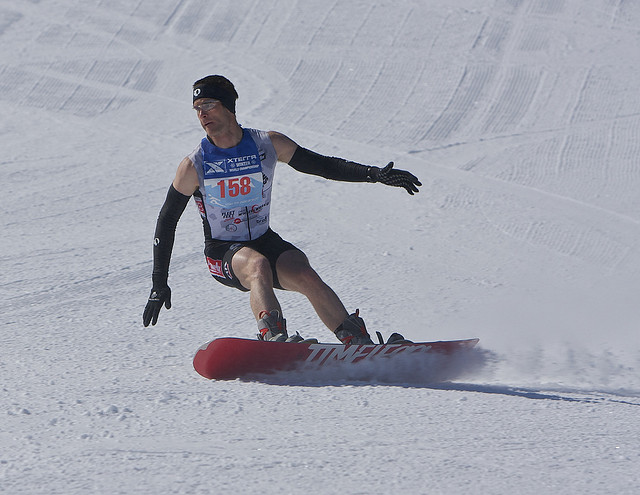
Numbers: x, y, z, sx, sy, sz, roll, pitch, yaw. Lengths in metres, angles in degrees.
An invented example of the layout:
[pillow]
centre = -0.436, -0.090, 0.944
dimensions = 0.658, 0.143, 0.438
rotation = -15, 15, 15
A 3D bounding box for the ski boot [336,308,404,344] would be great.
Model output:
[ski boot]
centre = 0.402, 0.460, 5.134
dimensions = 0.601, 0.246, 0.144
rotation = 3, 24, 5

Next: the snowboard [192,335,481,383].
[snowboard]
centre = 0.067, 0.624, 4.885
dimensions = 1.842, 0.244, 0.237
rotation = -7, 51, 40

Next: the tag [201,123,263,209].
[tag]
centre = -0.527, -0.488, 5.194
dimensions = 0.450, 0.463, 0.376
rotation = -7, 23, -14

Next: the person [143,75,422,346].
[person]
centre = -0.287, -0.228, 5.073
dimensions = 1.300, 1.330, 1.288
rotation = 6, 36, -2
